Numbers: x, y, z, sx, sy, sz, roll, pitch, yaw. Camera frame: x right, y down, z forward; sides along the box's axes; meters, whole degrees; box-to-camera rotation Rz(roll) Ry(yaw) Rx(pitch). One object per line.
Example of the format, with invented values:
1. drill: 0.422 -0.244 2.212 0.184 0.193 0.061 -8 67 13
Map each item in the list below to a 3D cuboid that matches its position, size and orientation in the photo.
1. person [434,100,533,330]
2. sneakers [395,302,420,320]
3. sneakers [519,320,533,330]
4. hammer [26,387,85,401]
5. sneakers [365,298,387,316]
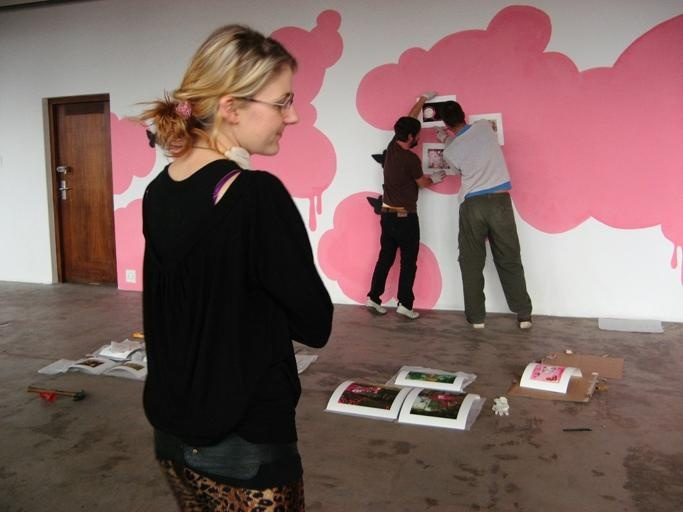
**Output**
1. person: 1.408 -0.405 4.549 0.863 2.161 0.415 1 9 15
2. sneakers: 0.685 0.615 4.987 0.302 0.141 0.114 26 7 -18
3. sneakers: 1.775 0.662 4.502 0.064 0.049 0.115 -1 1 2
4. hammer: -2.012 0.978 3.338 0.442 0.073 0.158 2 -13 -14
5. sneakers: 0.379 0.574 5.210 0.281 0.124 0.114 37 8 -5
